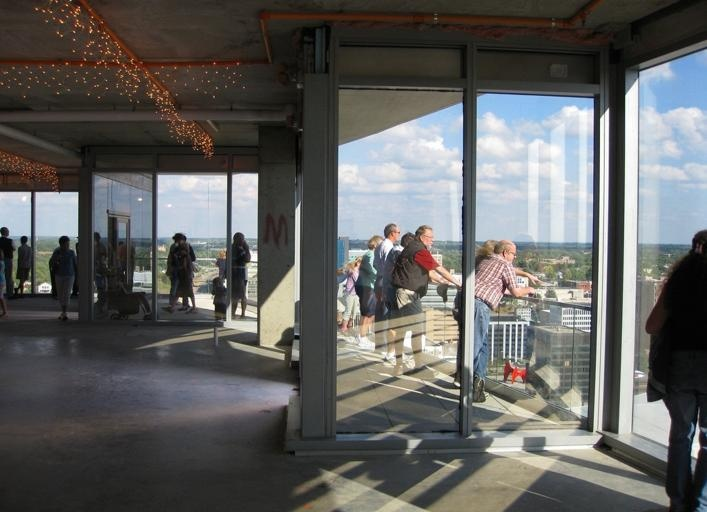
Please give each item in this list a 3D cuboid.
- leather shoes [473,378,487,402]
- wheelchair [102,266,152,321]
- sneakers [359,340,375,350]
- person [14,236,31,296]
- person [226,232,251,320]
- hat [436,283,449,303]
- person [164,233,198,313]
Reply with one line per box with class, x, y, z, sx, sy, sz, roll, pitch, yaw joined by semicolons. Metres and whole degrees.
leather shoes;1.299;1.379;6.044;0.094;0.277;0.116;1;-4;-5
wheelchair;-4.896;0.878;12.813;0.926;1.085;0.668;2;-3;-24
sneakers;0.133;0.896;5.956;0.187;0.081;0.068;11;1;-7
person;-9.926;0.284;17.723;0.469;1.790;0.542;-3;8;-30
person;-2.357;0.401;12.326;0.404;1.747;0.307;0;7;-4
hat;0.922;0.372;6.009;0.127;0.173;0.042;8;2;1
person;-3.666;0.364;12.522;0.617;1.665;0.210;3;7;17
